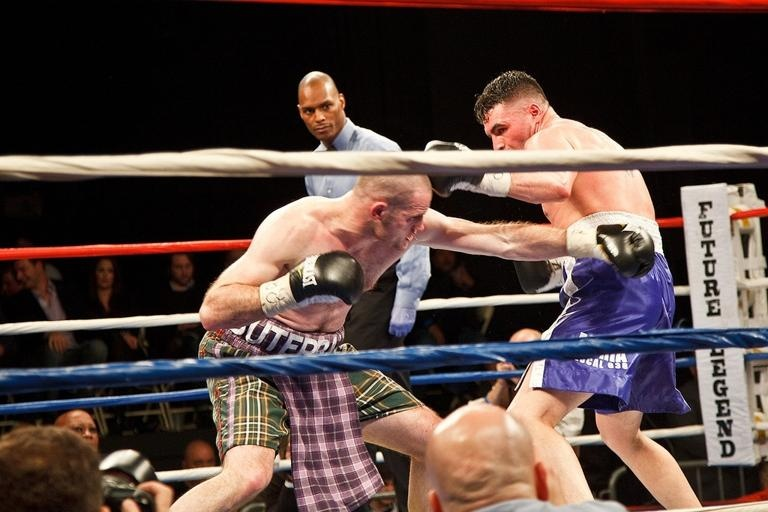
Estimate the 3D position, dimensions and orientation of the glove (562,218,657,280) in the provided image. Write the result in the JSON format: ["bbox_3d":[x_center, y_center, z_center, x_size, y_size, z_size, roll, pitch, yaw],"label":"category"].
[{"bbox_3d":[0.917,-0.030,3.586,0.320,0.131,0.247,13,3,40],"label":"glove"}]

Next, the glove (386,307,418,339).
[{"bbox_3d":[0.105,0.373,4.767,0.152,0.163,0.075,5,-8,15],"label":"glove"}]

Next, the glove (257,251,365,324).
[{"bbox_3d":[-0.298,0.128,3.436,0.406,0.229,0.131,-14,-37,9],"label":"glove"}]

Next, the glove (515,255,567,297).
[{"bbox_3d":[0.762,0.094,4.011,0.215,0.136,0.177,-1,-6,-30],"label":"glove"}]
